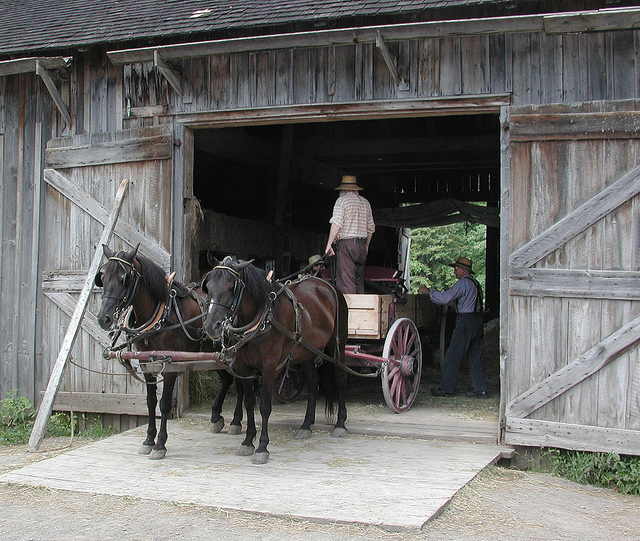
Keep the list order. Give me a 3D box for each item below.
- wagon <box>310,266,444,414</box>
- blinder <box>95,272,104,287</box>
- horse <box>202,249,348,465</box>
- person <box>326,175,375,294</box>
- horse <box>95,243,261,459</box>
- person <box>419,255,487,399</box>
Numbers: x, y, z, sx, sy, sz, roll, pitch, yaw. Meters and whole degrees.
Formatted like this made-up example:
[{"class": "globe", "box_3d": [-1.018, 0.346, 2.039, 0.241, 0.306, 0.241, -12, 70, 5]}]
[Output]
[{"class": "wagon", "box_3d": [0.752, 0.723, 10.246, 1.112, 1.104, 1.834, 0, 0, 26]}, {"class": "blinder", "box_3d": [-2.041, 0.067, 8.046, 0.085, 0.129, 0.106, 4, -6, 6]}, {"class": "horse", "box_3d": [-0.341, 0.809, 8.630, 0.658, 1.986, 2.472, 0, 0, 31]}, {"class": "person", "box_3d": [0.356, -0.398, 10.104, 0.483, 1.390, 0.929, 2, 10, 8]}, {"class": "horse", "box_3d": [-1.299, 0.841, 8.631, 0.536, 1.866, 2.125, -1, -4, 34]}, {"class": "person", "box_3d": [1.777, 0.756, 11.098, 0.746, 1.818, 0.850, 2, 10, 9]}]
